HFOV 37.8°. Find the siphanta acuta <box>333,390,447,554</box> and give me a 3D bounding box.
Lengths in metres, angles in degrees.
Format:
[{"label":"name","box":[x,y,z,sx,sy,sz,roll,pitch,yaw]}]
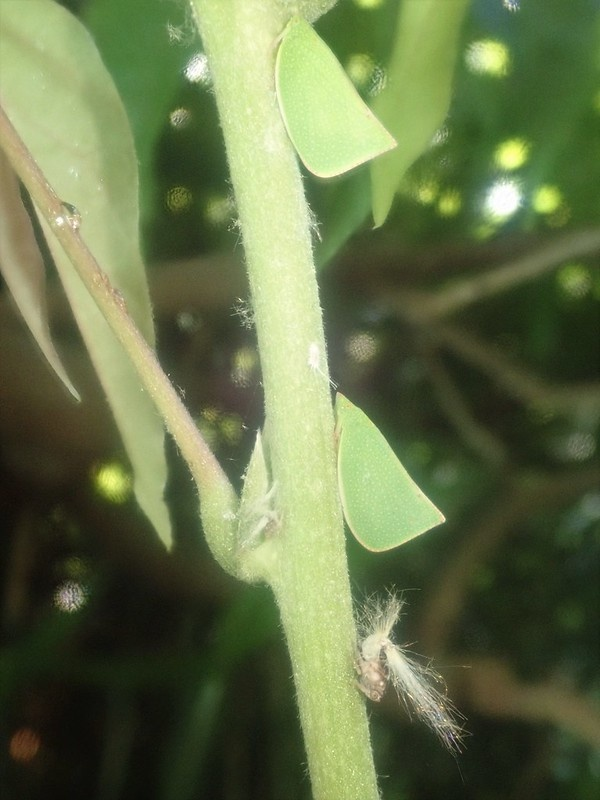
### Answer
[{"label":"siphanta acuta","box":[0.025,0.026,0.298,0.025,0.051,0.039,-22,30,-18]}]
